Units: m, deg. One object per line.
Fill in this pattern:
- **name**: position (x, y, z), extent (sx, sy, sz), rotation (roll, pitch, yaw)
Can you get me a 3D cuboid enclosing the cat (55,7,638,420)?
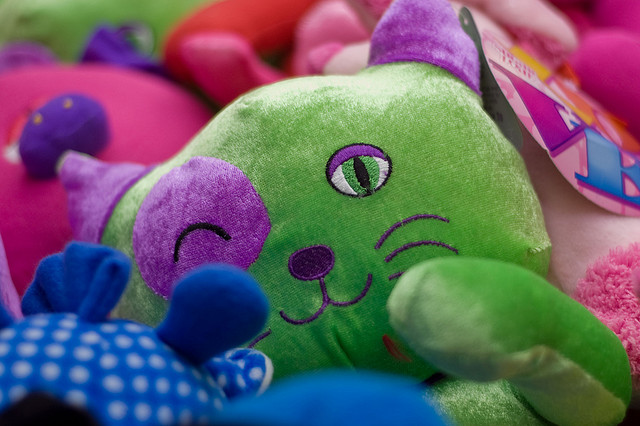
- **cat**: position (0.033, 0.108, 1.267), extent (0.843, 0.554, 0.630), rotation (-15, 75, 9)
